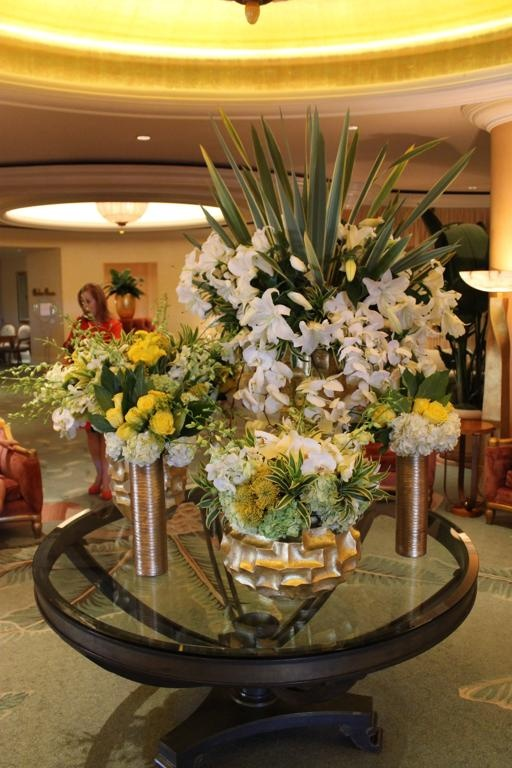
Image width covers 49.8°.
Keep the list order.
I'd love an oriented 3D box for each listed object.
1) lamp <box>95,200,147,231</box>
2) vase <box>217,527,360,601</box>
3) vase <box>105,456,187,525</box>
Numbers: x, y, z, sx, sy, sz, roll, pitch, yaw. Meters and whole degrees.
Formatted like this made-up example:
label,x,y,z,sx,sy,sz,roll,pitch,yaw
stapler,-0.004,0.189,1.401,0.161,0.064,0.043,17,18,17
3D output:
label,x,y,z,sx,sy,sz,roll,pitch,yaw
lamp,-2.152,-2.698,8.877,0.762,0.479,0.744,-2,4,-10
vase,0.068,0.293,0.918,0.249,0.130,0.123,0,3,-5
vase,-0.235,0.218,1.244,0.154,0.152,0.153,0,3,7
